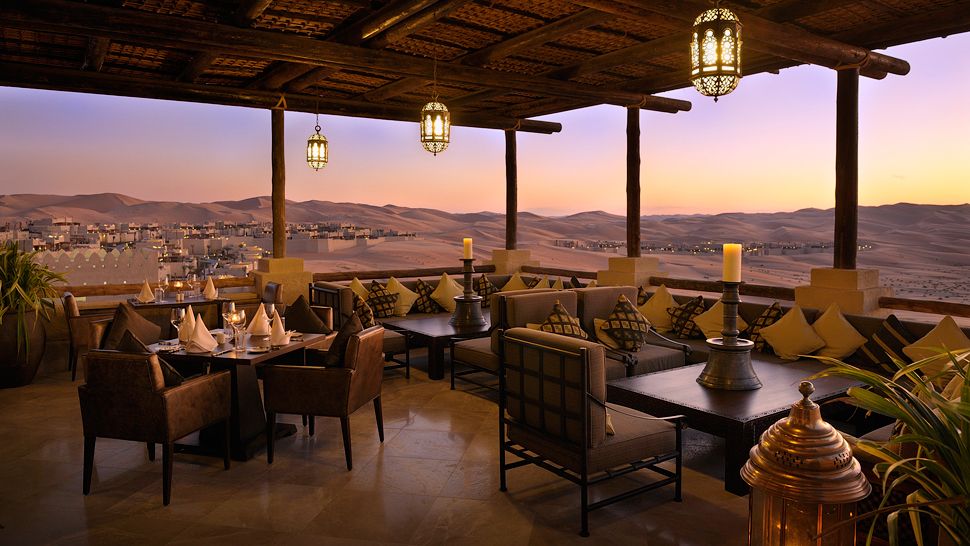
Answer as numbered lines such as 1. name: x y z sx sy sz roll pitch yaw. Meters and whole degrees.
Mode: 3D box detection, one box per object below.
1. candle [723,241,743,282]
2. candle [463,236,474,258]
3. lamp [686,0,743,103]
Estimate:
1. candle: 2.360 -0.093 5.654 0.162 0.379 0.106 -2 9 11
2. candle: -0.218 -0.329 7.991 0.098 0.284 0.255 -3 8 8
3. lamp: 2.216 -2.129 5.671 0.449 0.885 0.262 -1 9 16
